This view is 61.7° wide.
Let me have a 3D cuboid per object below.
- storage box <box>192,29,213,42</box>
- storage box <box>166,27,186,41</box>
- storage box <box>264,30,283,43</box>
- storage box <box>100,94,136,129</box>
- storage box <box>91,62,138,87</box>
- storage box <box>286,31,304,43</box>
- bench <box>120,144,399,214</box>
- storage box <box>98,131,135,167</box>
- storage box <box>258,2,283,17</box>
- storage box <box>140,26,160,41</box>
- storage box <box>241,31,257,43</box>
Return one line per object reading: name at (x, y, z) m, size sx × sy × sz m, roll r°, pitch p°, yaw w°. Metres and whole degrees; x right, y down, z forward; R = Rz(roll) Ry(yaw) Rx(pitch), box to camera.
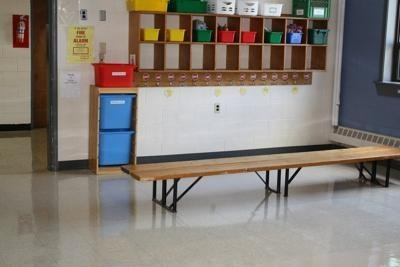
storage box at (0.042, -1.772, 6.090) m, size 0.307 × 0.175 × 0.211 m, roll -2°, pitch 8°, yaw -12°
storage box at (-0.439, -1.725, 5.940) m, size 0.286 × 0.221 × 0.133 m, roll -2°, pitch 13°, yaw -16°
storage box at (1.456, -1.863, 6.554) m, size 0.274 × 0.168 × 0.254 m, roll 5°, pitch 8°, yaw 34°
storage box at (-1.540, -0.373, 6.106) m, size 0.844 × 0.585 × 0.556 m, roll 0°, pitch 6°, yaw -22°
storage box at (-1.445, -0.971, 5.700) m, size 0.603 × 0.292 × 0.432 m, roll -2°, pitch 8°, yaw -22°
storage box at (1.904, -1.908, 6.673) m, size 0.260 × 0.167 × 0.221 m, roll -1°, pitch 10°, yaw -13°
bench at (0.991, 0.665, 5.255) m, size 4.316 × 0.671 × 0.899 m, roll -3°, pitch 13°, yaw -19°
storage box at (-1.539, 0.262, 6.002) m, size 0.579 × 0.471 × 0.672 m, roll 1°, pitch 2°, yaw -13°
storage box at (1.368, -2.385, 6.524) m, size 0.405 × 0.197 × 0.265 m, roll -2°, pitch 9°, yaw -19°
storage box at (-0.886, -1.722, 5.881) m, size 0.338 × 0.236 × 0.262 m, roll 0°, pitch 13°, yaw -7°
storage box at (0.909, -1.822, 6.371) m, size 0.273 × 0.205 × 0.059 m, roll -2°, pitch 13°, yaw -16°
